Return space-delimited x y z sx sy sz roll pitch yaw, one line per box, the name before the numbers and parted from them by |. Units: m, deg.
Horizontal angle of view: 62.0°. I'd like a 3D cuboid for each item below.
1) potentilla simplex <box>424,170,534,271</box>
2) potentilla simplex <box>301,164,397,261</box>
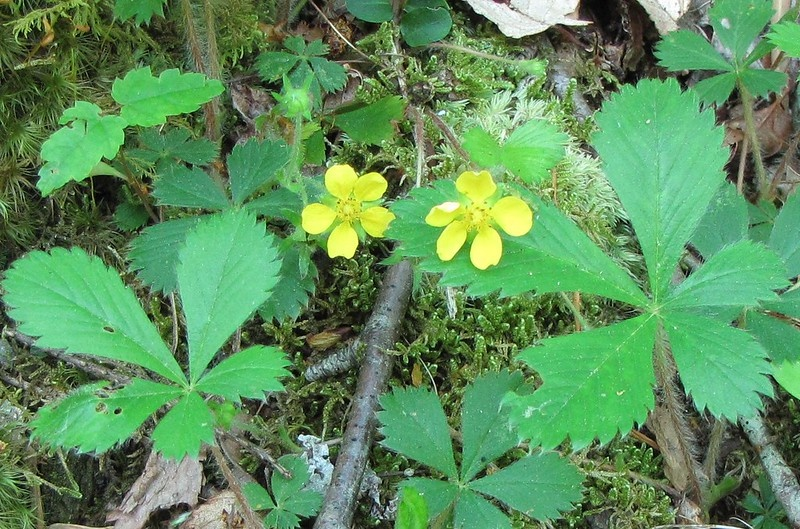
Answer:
potentilla simplex | 0.474 -0.306 3.751 0.487 0.193 0.528 20 8 21
potentilla simplex | -0.306 -0.344 3.983 0.537 0.595 0.128 -28 62 11
